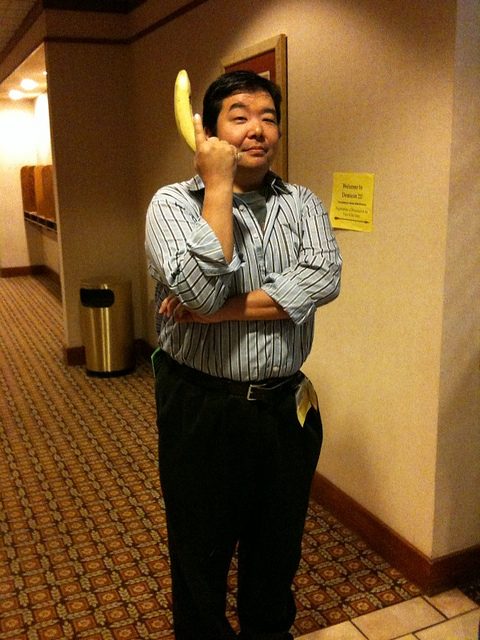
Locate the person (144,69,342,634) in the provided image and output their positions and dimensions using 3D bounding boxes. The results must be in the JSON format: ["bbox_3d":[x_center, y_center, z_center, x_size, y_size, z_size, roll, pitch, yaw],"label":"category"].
[{"bbox_3d":[0.019,0.194,1.205,0.451,1.500,0.462,-3,8,-12],"label":"person"}]
